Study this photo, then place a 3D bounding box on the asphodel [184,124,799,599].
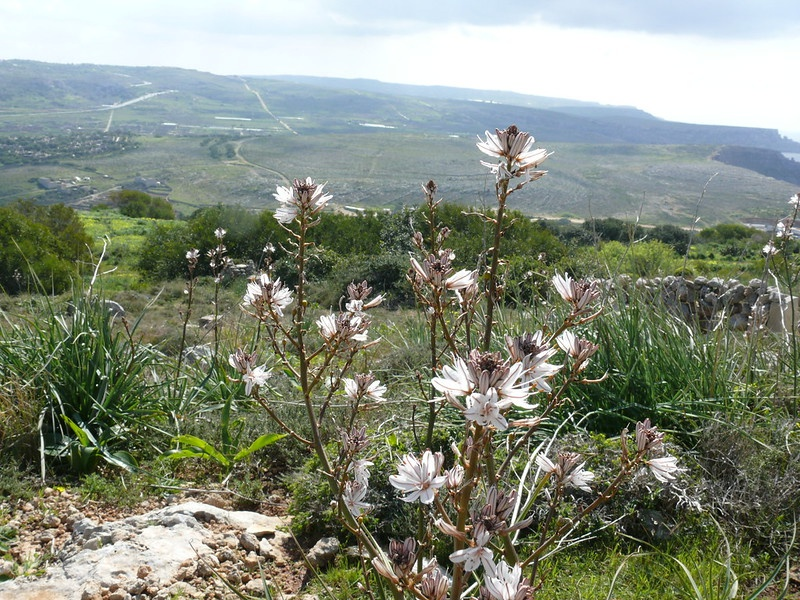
[{"bbox_3d":[0.237,0.424,3.499,1.888,2.671,2.454,2,14,2],"label":"asphodel"}]
